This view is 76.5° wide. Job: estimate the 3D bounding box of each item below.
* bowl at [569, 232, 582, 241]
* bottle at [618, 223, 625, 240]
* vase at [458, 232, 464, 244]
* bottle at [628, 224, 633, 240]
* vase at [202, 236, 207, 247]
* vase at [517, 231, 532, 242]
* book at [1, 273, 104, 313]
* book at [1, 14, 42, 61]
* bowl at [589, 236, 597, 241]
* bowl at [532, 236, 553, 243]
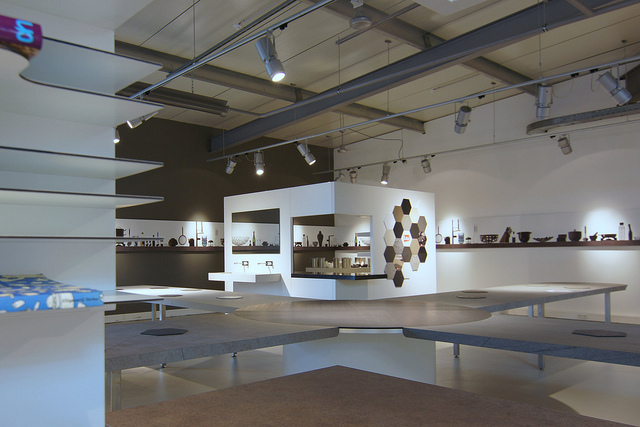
[{"bbox_3d":[4.997,0.444,7.983,0.180,0.114,0.155,-2,-3,19],"label":"bowl"},{"bbox_3d":[5.632,0.327,7.620,0.099,0.295,0.035,-6,-7,37],"label":"bottle"},{"bbox_3d":[3.338,0.583,9.631,0.124,0.271,0.126,-1,-6,-3],"label":"vase"},{"bbox_3d":[5.711,0.333,7.511,0.052,0.269,0.057,-6,-7,40],"label":"bottle"},{"bbox_3d":[-2.797,0.678,9.792,0.138,0.247,0.056,-1,-6,-14],"label":"vase"},{"bbox_3d":[4.312,0.498,8.651,0.254,0.241,0.215,-6,-7,38],"label":"vase"},{"bbox_3d":[-0.801,0.245,1.206,0.178,0.034,0.193,3,-2,-41],"label":"book"},{"bbox_3d":[-0.832,-0.491,1.137,0.092,0.098,0.068,2,-7,-33],"label":"book"},{"bbox_3d":[5.254,0.481,7.847,0.104,0.087,0.062,-5,-7,32],"label":"bowl"},{"bbox_3d":[4.593,0.547,8.500,0.257,0.127,0.408,4,-7,-41],"label":"bowl"}]
